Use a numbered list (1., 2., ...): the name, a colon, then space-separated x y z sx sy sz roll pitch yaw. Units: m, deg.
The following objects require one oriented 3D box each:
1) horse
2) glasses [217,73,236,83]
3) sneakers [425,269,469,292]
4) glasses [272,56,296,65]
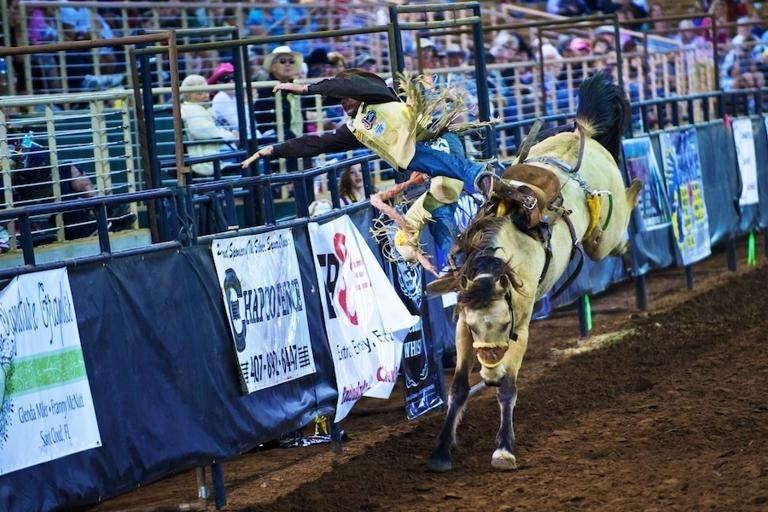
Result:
1. horse: 2.302 -0.144 12.477 1.370 2.958 5.909 6 36 24
2. glasses: -2.149 -2.388 16.008 0.202 0.115 0.278 -11 3 8
3. sneakers: 0.620 0.262 11.906 0.393 0.219 0.255 -6 8 5
4. glasses: -1.335 -2.556 15.526 0.308 0.112 0.166 -9 8 -17
